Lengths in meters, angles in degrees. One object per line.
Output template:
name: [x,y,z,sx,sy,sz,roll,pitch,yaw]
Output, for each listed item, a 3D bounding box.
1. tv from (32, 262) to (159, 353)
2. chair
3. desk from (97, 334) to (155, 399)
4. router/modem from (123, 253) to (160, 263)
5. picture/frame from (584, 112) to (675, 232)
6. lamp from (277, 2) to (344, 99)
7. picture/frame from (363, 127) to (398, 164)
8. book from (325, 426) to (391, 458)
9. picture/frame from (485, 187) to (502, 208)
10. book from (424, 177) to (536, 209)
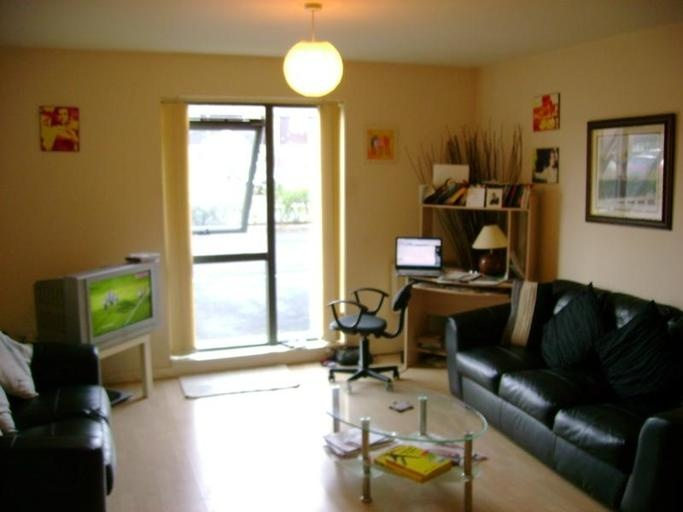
tv: [-2.187,0.416,4.928,0.564,0.710,1.032,9,9,20]
chair: [0.251,0.767,5.455,0.808,1.048,0.864,2,5,23]
desk: [-2.033,1.038,5.081,0.497,0.479,0.331,-15,30,-33]
router/modem: [-1.860,0.016,5.076,0.271,0.076,0.227,-6,10,-34]
picture/frame: [2.396,-0.704,4.551,0.068,0.899,0.817,-4,9,-25]
lamp: [-0.199,-1.574,4.257,0.460,0.618,0.607,3,9,22]
picture/frame: [0.398,-1.216,5.895,0.365,0.386,0.038,-4,11,-16]
book: [0.077,1.344,3.933,0.254,0.064,0.254,-3,6,-35]
picture/frame: [1.513,-0.585,5.396,0.188,0.241,0.026,6,6,35]
book: [1.345,-0.638,5.534,1.108,0.274,0.276,8,12,43]
